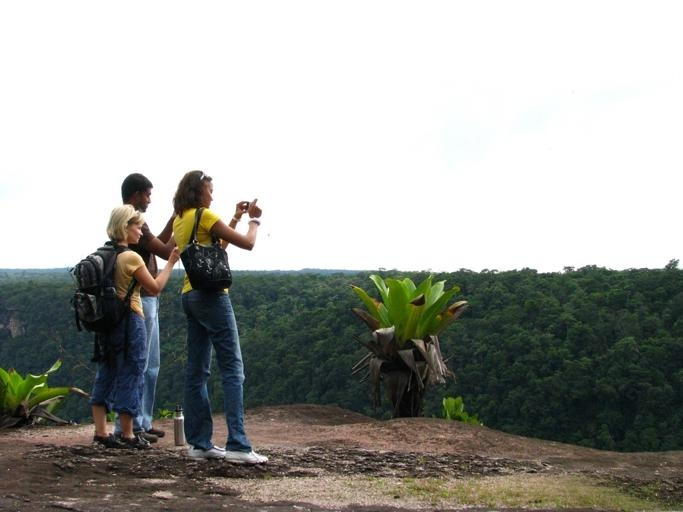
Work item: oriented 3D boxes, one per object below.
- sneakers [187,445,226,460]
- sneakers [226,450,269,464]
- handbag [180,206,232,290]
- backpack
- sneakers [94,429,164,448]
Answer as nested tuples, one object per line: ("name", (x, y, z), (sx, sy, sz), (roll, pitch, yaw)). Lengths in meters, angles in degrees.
("sneakers", (-1.105, 1.607, 5.791), (0.339, 0.132, 0.122), (-2, 0, -5))
("sneakers", (-0.766, 1.603, 5.665), (0.356, 0.154, 0.126), (2, 0, -15))
("handbag", (-1.089, -0.054, 5.629), (0.413, 0.672, 0.313), (2, -6, -9))
("backpack", (-2.017, 0.240, 5.896), (0.480, 0.710, 0.517), (-2, -3, -38))
("sneakers", (-1.883, 1.564, 5.965), (0.492, 0.121, 0.163), (2, -5, -4))
